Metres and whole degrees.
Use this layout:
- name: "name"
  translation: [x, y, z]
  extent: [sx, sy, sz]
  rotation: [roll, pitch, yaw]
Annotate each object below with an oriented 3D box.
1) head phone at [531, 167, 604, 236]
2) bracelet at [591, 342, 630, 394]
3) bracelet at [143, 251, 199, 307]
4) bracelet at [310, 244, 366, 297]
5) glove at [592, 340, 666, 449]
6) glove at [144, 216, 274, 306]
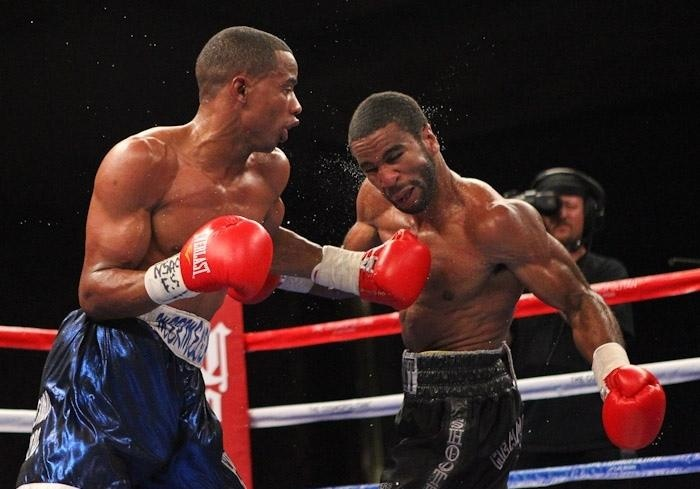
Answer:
- name: "head phone"
  translation: [1.265, -0.262, 4.469]
  extent: [0.311, 0.402, 0.253]
  rotation: [2, 6, 18]
- name: "bracelet"
  translation: [1.101, 0.518, 3.395]
  extent: [0.172, 0.174, 0.201]
  rotation: [2, -18, -8]
- name: "bracelet"
  translation: [-0.752, 0.144, 3.300]
  extent: [0.216, 0.157, 0.084]
  rotation: [-24, -30, -11]
- name: "bracelet"
  translation: [-0.050, 0.127, 3.830]
  extent: [0.259, 0.192, 0.138]
  rotation: [14, 12, 29]
- name: "glove"
  translation: [1.165, 0.637, 3.474]
  extent: [0.271, 0.253, 0.431]
  rotation: [-29, 41, -3]
- name: "glove"
  translation: [-0.581, 0.077, 3.372]
  extent: [0.445, 0.338, 0.217]
  rotation: [-15, -35, 5]
